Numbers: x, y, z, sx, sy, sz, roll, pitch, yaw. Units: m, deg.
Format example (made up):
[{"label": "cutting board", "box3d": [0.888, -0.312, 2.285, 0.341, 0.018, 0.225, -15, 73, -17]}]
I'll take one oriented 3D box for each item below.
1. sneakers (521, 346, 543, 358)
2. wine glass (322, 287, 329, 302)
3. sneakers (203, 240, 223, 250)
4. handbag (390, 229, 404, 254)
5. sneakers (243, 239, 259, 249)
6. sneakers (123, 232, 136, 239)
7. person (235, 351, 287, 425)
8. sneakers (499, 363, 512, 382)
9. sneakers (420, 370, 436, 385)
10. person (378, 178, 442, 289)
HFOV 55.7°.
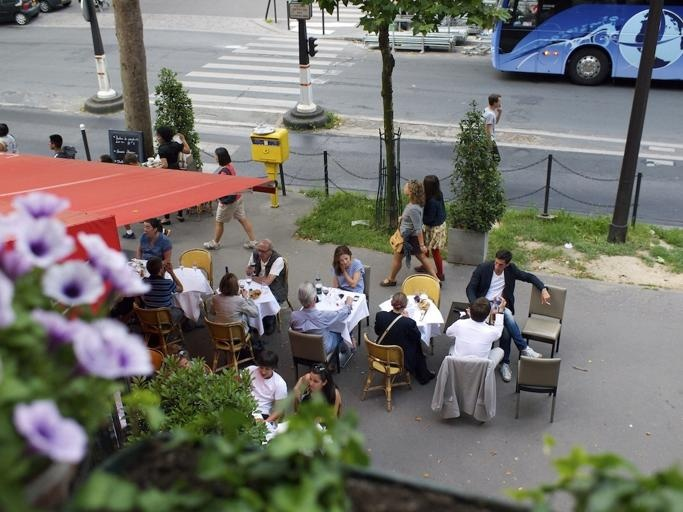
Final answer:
[{"label": "sneakers", "box3d": [2.539, 1.294, 8.706, 0.194, 0.131, 0.296, -8, 16, -39]}, {"label": "wine glass", "box3d": [-0.227, 0.538, 9.266, 0.047, 0.147, 0.095, 9, -2, -28]}, {"label": "sneakers", "box3d": [-2.446, -0.197, 12.325, 0.265, 0.138, 0.158, 5, 44, -7]}, {"label": "handbag", "box3d": [0.895, -0.171, 10.559, 0.128, 0.332, 0.276, 3, 47, -16]}, {"label": "sneakers", "box3d": [-1.701, -0.258, 12.345, 0.301, 0.201, 0.118, 5, 48, 7]}, {"label": "sneakers", "box3d": [-4.244, -0.416, 12.979, 0.259, 0.130, 0.109, 2, 18, 0]}, {"label": "person", "box3d": [-0.933, 1.538, 7.456, 0.573, 0.837, 0.719, 10, 20, -11]}, {"label": "sneakers", "box3d": [2.190, 1.541, 8.600, 0.088, 0.125, 0.285, -6, 37, 7]}, {"label": "sneakers", "box3d": [1.171, 1.579, 8.608, 0.299, 0.191, 0.078, -17, 24, -42]}, {"label": "person", "box3d": [1.112, -0.339, 10.671, 1.001, 1.806, 0.646, 1, 25, 8]}]
